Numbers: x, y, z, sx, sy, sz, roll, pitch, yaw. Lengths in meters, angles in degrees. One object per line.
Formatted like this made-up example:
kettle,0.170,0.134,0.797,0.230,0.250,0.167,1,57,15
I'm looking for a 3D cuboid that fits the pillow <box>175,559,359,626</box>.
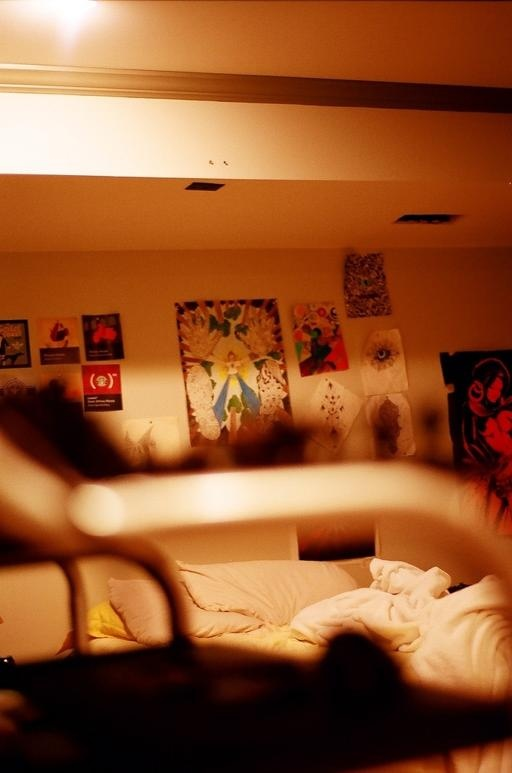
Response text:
pillow,0.027,0.677,2.160,0.301,0.077,0.268,3,6,-35
